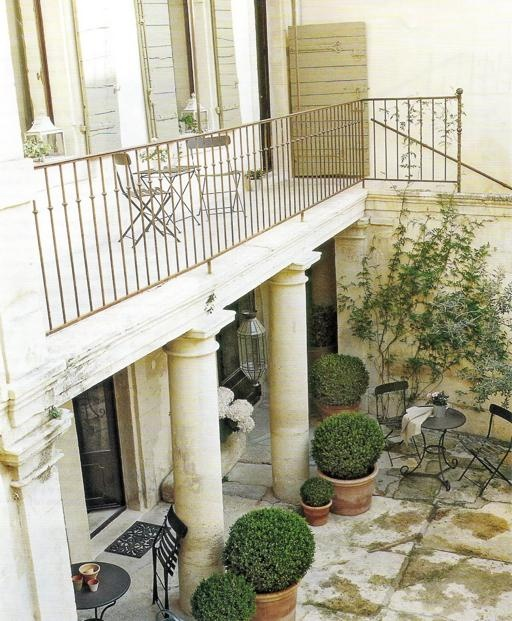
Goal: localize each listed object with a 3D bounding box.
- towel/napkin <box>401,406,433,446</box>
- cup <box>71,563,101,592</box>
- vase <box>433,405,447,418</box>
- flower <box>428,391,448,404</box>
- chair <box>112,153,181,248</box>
[{"bbox_3d":[2.144,1.542,7.974,0.381,0.455,0.447,4,15,24],"label":"towel/napkin"},{"bbox_3d":[-1.383,2.186,4.861,0.159,0.069,0.178,2,13,5],"label":"cup"},{"bbox_3d":[2.445,1.349,7.912,0.171,0.163,0.160,5,18,8],"label":"vase"},{"bbox_3d":[2.455,1.195,8.006,0.224,0.199,0.293,2,13,15],"label":"flower"},{"bbox_3d":[-1.018,-1.279,6.957,0.794,0.751,0.730,2,18,25],"label":"chair"}]
